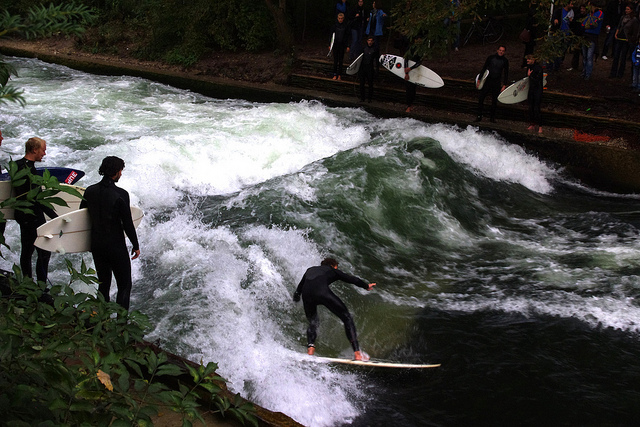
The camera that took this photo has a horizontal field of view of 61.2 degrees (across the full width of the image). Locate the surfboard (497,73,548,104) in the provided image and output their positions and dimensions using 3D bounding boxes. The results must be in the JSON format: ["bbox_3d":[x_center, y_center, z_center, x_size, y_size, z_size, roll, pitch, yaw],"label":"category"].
[{"bbox_3d":[5.611,-3.314,14.597,1.702,0.545,0.386,-14,27,9],"label":"surfboard"}]

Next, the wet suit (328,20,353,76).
[{"bbox_3d":[0.603,-5.541,17.864,0.843,2.030,0.608,-3,10,-28],"label":"wet suit"}]

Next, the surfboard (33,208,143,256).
[{"bbox_3d":[-3.357,0.223,7.527,1.579,0.548,0.254,-9,10,0],"label":"surfboard"}]

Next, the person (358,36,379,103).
[{"bbox_3d":[1.466,-4.416,16.776,0.614,1.962,0.991,6,20,4],"label":"person"}]

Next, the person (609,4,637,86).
[{"bbox_3d":[8.873,-4.889,15.844,0.576,2.206,1.521,14,22,25],"label":"person"}]

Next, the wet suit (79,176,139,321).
[{"bbox_3d":[-2.944,0.473,7.548,0.746,1.978,0.515,11,20,17],"label":"wet suit"}]

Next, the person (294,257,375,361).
[{"bbox_3d":[0.203,1.643,8.992,1.182,1.417,0.693,-13,-27,24],"label":"person"}]

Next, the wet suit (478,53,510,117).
[{"bbox_3d":[4.699,-3.582,14.847,0.809,2.018,0.526,11,22,13],"label":"wet suit"}]

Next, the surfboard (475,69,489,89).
[{"bbox_3d":[4.418,-3.676,14.839,0.153,0.524,0.406,-1,20,-15],"label":"surfboard"}]
